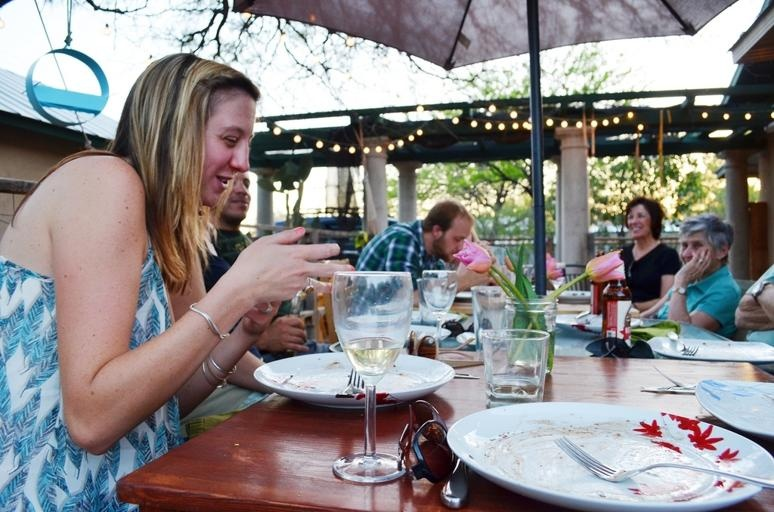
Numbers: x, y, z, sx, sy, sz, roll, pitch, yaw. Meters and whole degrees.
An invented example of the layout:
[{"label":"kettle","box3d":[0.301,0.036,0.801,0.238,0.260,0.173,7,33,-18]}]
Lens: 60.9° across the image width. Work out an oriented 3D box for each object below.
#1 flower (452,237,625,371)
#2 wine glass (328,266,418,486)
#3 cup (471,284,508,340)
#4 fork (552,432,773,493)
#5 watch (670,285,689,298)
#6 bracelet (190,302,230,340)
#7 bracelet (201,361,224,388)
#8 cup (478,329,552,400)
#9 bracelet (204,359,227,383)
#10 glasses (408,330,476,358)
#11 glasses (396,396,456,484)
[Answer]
[{"label":"flower","box3d":[0.459,0.084,2.229,0.455,0.395,0.472,4,5,-36]},{"label":"wine glass","box3d":[-0.042,0.309,1.773,0.218,0.536,0.222,1,0,43]},{"label":"cup","box3d":[0.363,0.182,2.368,0.144,0.231,0.145,0,-6,0]},{"label":"fork","box3d":[0.703,0.527,1.678,0.496,0.078,0.070,6,-7,27]},{"label":"watch","box3d":[1.766,0.200,3.953,0.109,0.074,0.108,-6,-26,18]},{"label":"bracelet","box3d":[-0.522,0.189,1.927,0.101,0.026,0.084,41,-6,2]},{"label":"bracelet","box3d":[-0.609,0.417,2.312,0.089,0.091,0.025,8,22,25]},{"label":"cup","box3d":[0.358,0.312,1.983,0.212,0.229,0.193,-1,-7,0]},{"label":"bracelet","box3d":[-0.598,0.398,2.295,0.079,0.062,0.083,31,3,23]},{"label":"glasses","box3d":[0.199,0.322,2.456,0.186,0.111,0.086,-7,-8,16]},{"label":"glasses","box3d":[0.107,0.488,1.717,0.074,0.178,0.174,0,41,-29]}]
